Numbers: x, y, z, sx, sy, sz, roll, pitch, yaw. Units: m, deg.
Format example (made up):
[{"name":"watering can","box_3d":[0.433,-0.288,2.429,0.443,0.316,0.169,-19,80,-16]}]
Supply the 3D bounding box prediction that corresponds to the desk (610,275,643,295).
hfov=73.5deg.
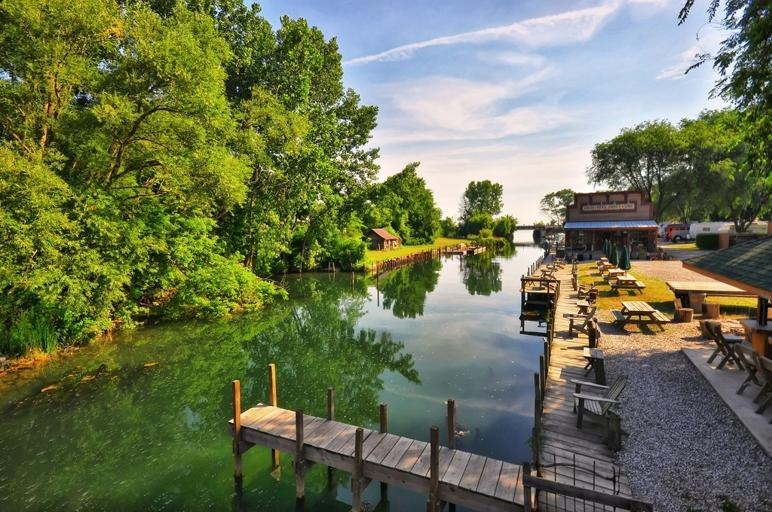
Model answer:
[{"name":"desk","box_3d":[15.825,1.853,33.882,1.188,0.460,1.805,-1,9,14]}]

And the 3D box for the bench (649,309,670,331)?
[{"name":"bench","box_3d":[14.048,3.323,26.558,0.740,0.947,1.305,7,15,32]}]

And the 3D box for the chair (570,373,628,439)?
[{"name":"chair","box_3d":[8.262,5.837,20.247,2.127,2.103,1.934,-8,-1,17]}]
